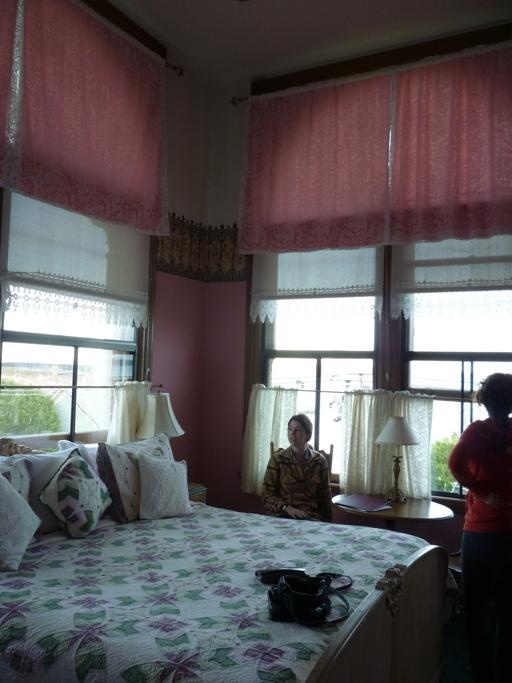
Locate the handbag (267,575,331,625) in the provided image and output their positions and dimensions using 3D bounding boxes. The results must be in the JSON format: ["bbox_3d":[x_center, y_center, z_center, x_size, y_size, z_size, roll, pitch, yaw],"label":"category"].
[{"bbox_3d":[0.146,0.875,1.745,0.235,0.119,0.326,2,-34,-5],"label":"handbag"}]

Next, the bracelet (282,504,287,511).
[{"bbox_3d":[0.178,1.075,3.350,0.026,0.030,0.028,5,9,24],"label":"bracelet"}]

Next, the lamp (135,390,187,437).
[{"bbox_3d":[-0.634,0.587,3.829,0.363,0.380,0.358,-5,-7,-37],"label":"lamp"}]

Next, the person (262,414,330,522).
[{"bbox_3d":[0.303,0.905,3.521,0.434,0.827,0.417,2,1,-31],"label":"person"}]
